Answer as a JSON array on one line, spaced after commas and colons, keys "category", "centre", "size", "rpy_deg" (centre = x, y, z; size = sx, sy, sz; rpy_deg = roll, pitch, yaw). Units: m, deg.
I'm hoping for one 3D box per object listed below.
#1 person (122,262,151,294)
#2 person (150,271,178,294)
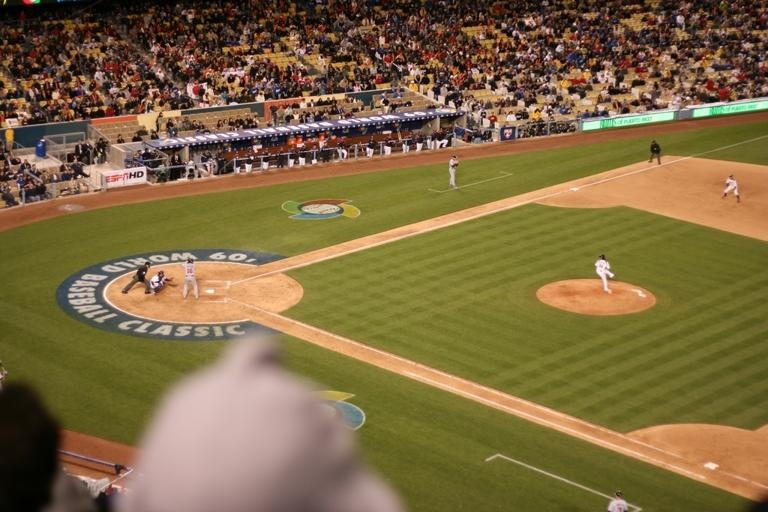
[{"category": "person", "centre": [-13.029, 1.267, 39.390], "size": [1.458, 0.579, 1.600], "rpy_deg": [-14, -14, -41]}, {"category": "person", "centre": [-11.724, 1.396, 38.794], "size": [1.446, 0.470, 1.270], "rpy_deg": [-9, -11, -8]}]
